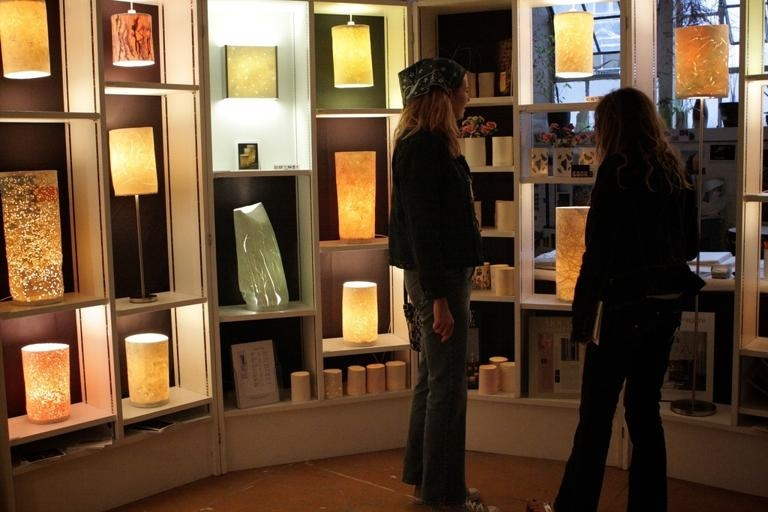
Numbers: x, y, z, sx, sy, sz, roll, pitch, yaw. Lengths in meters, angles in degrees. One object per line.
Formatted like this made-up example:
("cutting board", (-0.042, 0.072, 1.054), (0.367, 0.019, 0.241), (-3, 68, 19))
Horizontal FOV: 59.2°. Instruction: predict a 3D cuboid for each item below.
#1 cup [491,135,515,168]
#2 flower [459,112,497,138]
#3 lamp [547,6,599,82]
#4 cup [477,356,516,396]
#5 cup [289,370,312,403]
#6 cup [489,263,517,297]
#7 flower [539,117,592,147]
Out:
("cup", (0.744, -0.660, 4.255), (0.175, 0.201, 0.178), (0, 5, 0))
("flower", (0.608, -0.824, 4.366), (0.186, 0.189, 0.091), (3, -1, 15))
("lamp", (1.109, -1.252, 3.964), (0.219, 0.359, 0.137), (2, 12, 15))
("cup", (0.723, 0.774, 4.312), (0.270, 0.181, 0.149), (-1, 3, -15))
("cup", (-0.534, 0.806, 4.275), (0.133, 0.170, 0.148), (-3, 12, -8))
("cup", (0.738, 0.155, 4.345), (0.166, 0.168, 0.174), (0, 2, 0))
("flower", (1.128, -0.761, 4.218), (0.241, 0.130, 0.200), (-4, -9, 22))
